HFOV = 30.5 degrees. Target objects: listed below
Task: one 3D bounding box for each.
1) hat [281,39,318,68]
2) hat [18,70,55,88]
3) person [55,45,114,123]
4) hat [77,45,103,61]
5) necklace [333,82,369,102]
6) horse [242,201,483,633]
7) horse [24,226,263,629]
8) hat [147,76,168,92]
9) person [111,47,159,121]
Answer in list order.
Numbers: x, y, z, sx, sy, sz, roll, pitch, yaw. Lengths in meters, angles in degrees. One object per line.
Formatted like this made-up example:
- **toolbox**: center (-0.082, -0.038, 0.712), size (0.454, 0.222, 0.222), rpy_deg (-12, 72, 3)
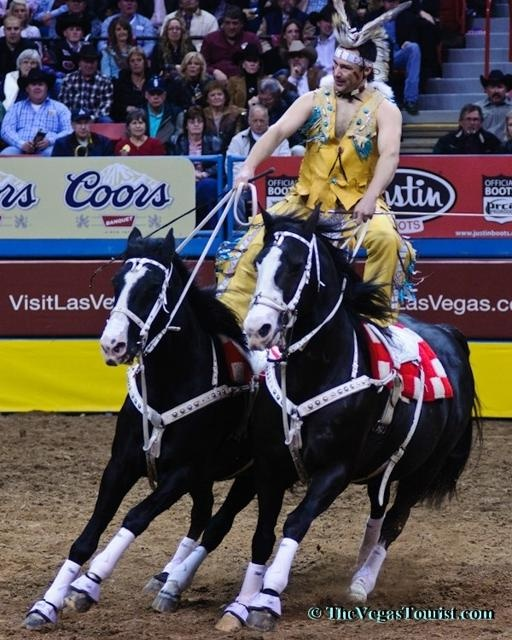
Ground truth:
- **hat**: center (0.488, -2.889, 10.140), size (0.329, 0.128, 0.355), rpy_deg (-11, -15, 10)
- **hat**: center (-2.309, -2.506, 9.843), size (0.355, 0.117, 0.347), rpy_deg (-3, -8, -3)
- **person**: center (-1.851, -2.488, 10.128), size (0.729, 0.835, 0.560), rpy_deg (5, 24, 5)
- **hat**: center (-1.824, -2.886, 10.242), size (0.270, 0.094, 0.276), rpy_deg (-1, 10, -3)
- **necklace**: center (0.465, -1.111, 4.605), size (0.117, 0.081, 0.137), rpy_deg (4, 11, 14)
- **horse**: center (0.497, 0.503, 4.411), size (0.666, 2.135, 1.879), rpy_deg (8, 19, 20)
- **horse**: center (-0.454, 0.579, 4.546), size (0.785, 1.512, 2.450), rpy_deg (9, -10, 8)
- **hat**: center (-1.001, -2.360, 9.494), size (0.173, 0.111, 0.231), rpy_deg (3, 1, 0)
- **person**: center (-1.282, -2.527, 10.103), size (0.555, 0.720, 0.836), rpy_deg (-5, 12, -4)
